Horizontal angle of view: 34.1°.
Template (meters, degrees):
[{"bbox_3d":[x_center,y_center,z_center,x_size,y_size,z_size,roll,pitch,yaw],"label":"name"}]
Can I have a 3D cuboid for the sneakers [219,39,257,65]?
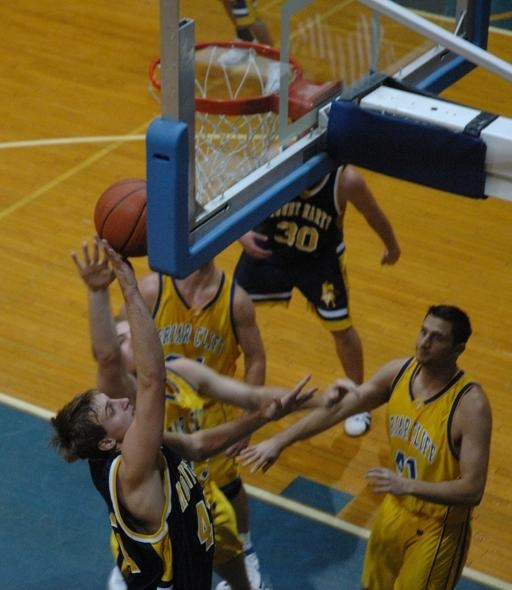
[{"bbox_3d":[-0.078,-0.967,3.362,0.129,0.074,0.199,2,24,10],"label":"sneakers"}]

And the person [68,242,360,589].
[{"bbox_3d":[-0.159,0.591,3.782,1.132,1.735,0.561,-14,42,-16],"label":"person"}]
